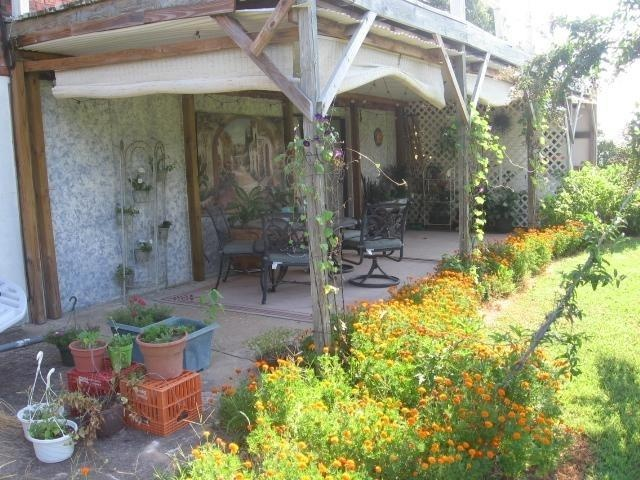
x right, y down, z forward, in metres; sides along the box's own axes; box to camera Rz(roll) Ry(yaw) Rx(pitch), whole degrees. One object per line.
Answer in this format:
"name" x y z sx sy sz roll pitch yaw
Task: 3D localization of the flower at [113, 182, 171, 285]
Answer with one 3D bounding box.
"flower" -2.297 -0.039 6.782 0.205 1.418 0.793 5 8 36
